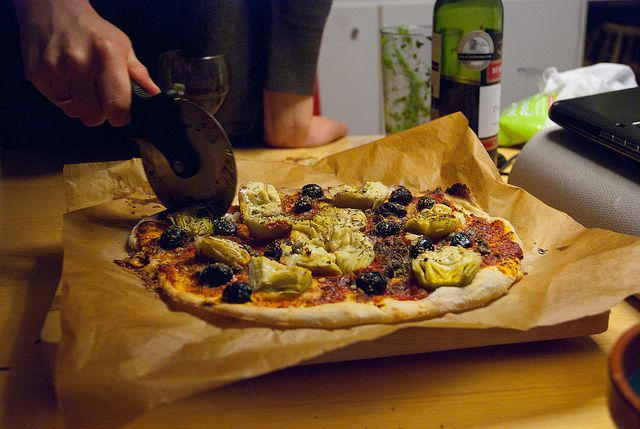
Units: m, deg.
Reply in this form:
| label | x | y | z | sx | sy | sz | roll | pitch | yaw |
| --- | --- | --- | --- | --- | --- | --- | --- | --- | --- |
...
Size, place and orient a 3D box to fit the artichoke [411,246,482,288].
| label | x | y | z | sx | sy | sz | roll | pitch | yaw |
| --- | --- | --- | --- | --- | --- | --- | --- | --- | --- |
| artichoke | 0.390 | 0.165 | 1.781 | 0.257 | 0.105 | 0.209 | -1 | 14 | 4 |

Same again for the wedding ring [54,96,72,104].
| label | x | y | z | sx | sy | sz | roll | pitch | yaw |
| --- | --- | --- | --- | --- | --- | --- | --- | --- | --- |
| wedding ring | -0.880 | -0.381 | 1.870 | 0.040 | 0.010 | 0.039 | 3 | 3 | 0 |

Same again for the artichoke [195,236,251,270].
| label | x | y | z | sx | sy | sz | roll | pitch | yaw |
| --- | --- | --- | --- | --- | --- | --- | --- | --- | --- |
| artichoke | -0.318 | 0.121 | 1.811 | 0.168 | 0.067 | 0.100 | 11 | 36 | 10 |

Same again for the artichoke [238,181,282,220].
| label | x | y | z | sx | sy | sz | roll | pitch | yaw |
| --- | --- | --- | --- | --- | --- | --- | --- | --- | --- |
| artichoke | -0.229 | -0.055 | 2.059 | 0.196 | 0.128 | 0.152 | -3 | 13 | -9 |

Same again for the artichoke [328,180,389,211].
| label | x | y | z | sx | sy | sz | roll | pitch | yaw |
| --- | --- | --- | --- | --- | --- | --- | --- | --- | --- |
| artichoke | 0.161 | -0.093 | 2.151 | 0.210 | 0.114 | 0.237 | 1 | 14 | 33 |

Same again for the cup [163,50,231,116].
| label | x | y | z | sx | sy | sz | roll | pitch | yaw |
| --- | --- | --- | --- | --- | --- | --- | --- | --- | --- |
| cup | -0.434 | -0.477 | 2.217 | 0.298 | 0.320 | 0.297 | 0 | 7 | 0 |
